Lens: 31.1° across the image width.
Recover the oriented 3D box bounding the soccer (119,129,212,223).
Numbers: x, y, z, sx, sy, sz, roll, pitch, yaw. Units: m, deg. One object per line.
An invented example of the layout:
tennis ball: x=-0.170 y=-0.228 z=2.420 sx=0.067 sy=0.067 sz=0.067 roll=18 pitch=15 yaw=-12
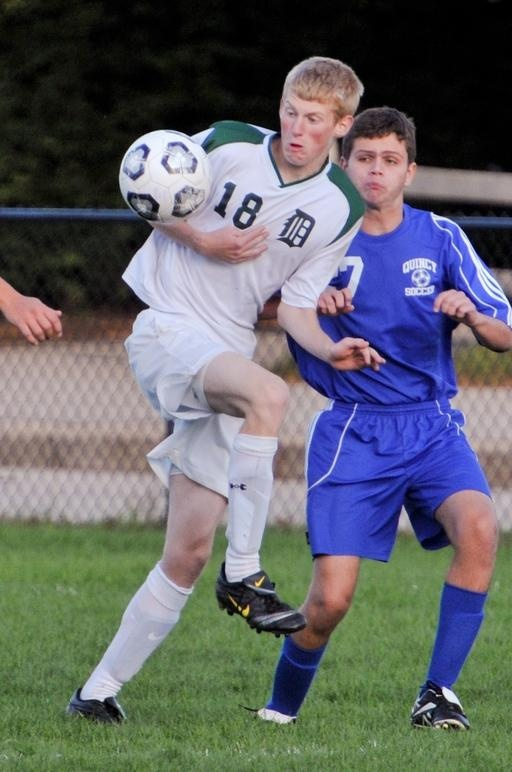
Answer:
soccer: x=-0.255 y=-0.602 z=2.635 sx=0.260 sy=0.256 sz=0.156 roll=4 pitch=0 yaw=-6

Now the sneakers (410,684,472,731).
sneakers: x=0.532 y=0.936 z=2.682 sx=0.084 sy=0.095 sz=0.215 roll=13 pitch=-16 yaw=-24

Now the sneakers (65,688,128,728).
sneakers: x=-0.483 y=0.952 z=2.713 sx=0.126 sy=0.055 sz=0.083 roll=2 pitch=2 yaw=2

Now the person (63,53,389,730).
person: x=-0.060 y=0.013 z=2.750 sx=0.760 sy=1.925 sz=0.514 roll=5 pitch=0 yaw=26
